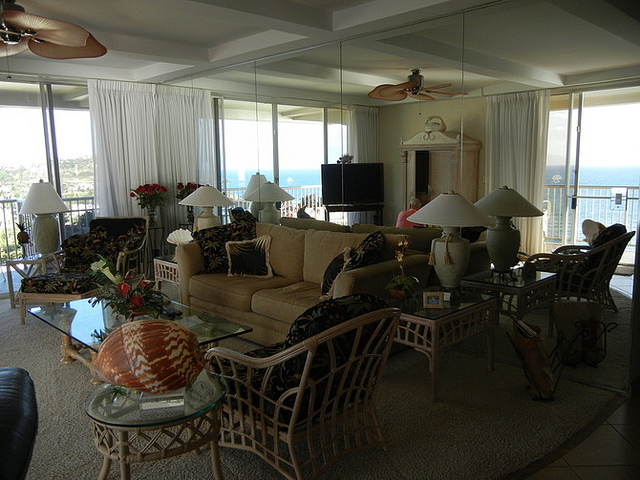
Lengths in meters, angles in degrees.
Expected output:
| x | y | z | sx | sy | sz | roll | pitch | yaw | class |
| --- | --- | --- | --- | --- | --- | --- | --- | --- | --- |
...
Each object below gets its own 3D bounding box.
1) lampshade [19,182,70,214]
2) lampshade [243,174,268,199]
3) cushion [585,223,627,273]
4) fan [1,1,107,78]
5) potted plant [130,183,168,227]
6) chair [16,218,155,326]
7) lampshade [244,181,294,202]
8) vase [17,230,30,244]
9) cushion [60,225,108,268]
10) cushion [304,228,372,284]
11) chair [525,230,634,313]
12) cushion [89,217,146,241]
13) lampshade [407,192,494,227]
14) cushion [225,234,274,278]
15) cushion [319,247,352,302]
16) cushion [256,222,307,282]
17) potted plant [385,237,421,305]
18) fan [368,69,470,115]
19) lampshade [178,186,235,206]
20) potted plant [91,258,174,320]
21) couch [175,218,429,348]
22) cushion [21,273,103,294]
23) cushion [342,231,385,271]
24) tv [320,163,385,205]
| x | y | z | sx | sy | sz | roll | pitch | yaw | class |
| --- | --- | --- | --- | --- | --- | --- | --- | --- | --- |
| -3.333 | -0.476 | 5.557 | 0.601 | 0.453 | 0.560 | -3 | 11 | -14 | lampshade |
| -0.895 | -0.742 | 6.227 | 0.298 | 0.282 | 0.298 | -4 | 8 | -22 | lampshade |
| 2.262 | 0.062 | 3.670 | 0.263 | 0.392 | 0.163 | 3 | 12 | 22 | cushion |
| -2.149 | -1.629 | 3.658 | 0.803 | 0.157 | 0.908 | -5 | 10 | -23 | fan |
| -2.438 | -0.528 | 6.805 | 0.631 | 0.642 | 0.622 | -2 | 10 | -20 | potted plant |
| -2.616 | 0.343 | 5.113 | 0.813 | 0.829 | 1.045 | 1 | 13 | 11 | chair |
| -0.676 | -0.626 | 6.115 | 0.369 | 0.200 | 0.340 | -6 | 11 | -33 | lampshade |
| -3.412 | -0.045 | 5.410 | 0.161 | 0.163 | 0.151 | -2 | -1 | 6 | vase |
| -2.670 | 0.083 | 5.270 | 0.571 | 0.490 | 0.163 | -16 | -8 | -23 | cushion |
| 0.126 | 0.202 | 4.517 | 0.318 | 0.571 | 0.874 | -18 | 15 | -34 | cushion |
| 2.124 | 0.237 | 3.701 | 0.517 | 0.533 | 0.643 | -8 | 13 | -41 | chair |
| -2.464 | -0.179 | 5.707 | 0.414 | 0.367 | 0.116 | -2 | -14 | -2 | cushion |
| 1.005 | -0.215 | 3.595 | 0.415 | 0.157 | 0.392 | -2 | 5 | -11 | lampshade |
| -0.726 | 0.186 | 4.781 | 0.495 | 0.424 | 0.080 | -2 | -13 | 1 | cushion |
| 0.129 | 0.287 | 3.975 | 0.145 | 0.399 | 0.374 | 24 | -34 | -14 | cushion |
| -0.402 | 0.149 | 4.756 | 0.570 | 0.341 | 0.190 | 10 | -8 | 39 | cushion |
| 0.718 | 0.241 | 3.960 | 0.290 | 0.486 | 0.755 | 1 | 10 | 12 | potted plant |
| 1.195 | -1.831 | 5.692 | 1.160 | 0.516 | 1.138 | 0 | 8 | 14 | fan |
| -1.408 | -0.524 | 5.658 | 0.370 | 0.154 | 0.366 | 5 | 8 | 32 | lampshade |
| -1.448 | 0.319 | 3.518 | 0.605 | 0.249 | 0.548 | 12 | -5 | 3 | potted plant |
| -0.270 | 0.385 | 4.601 | 2.497 | 1.079 | 1.066 | 6 | 12 | 45 | couch |
| -2.675 | 0.453 | 4.809 | 0.778 | 0.165 | 0.312 | 0 | 10 | 4 | cushion |
| 0.379 | 0.101 | 3.963 | 0.169 | 0.281 | 0.421 | 9 | 15 | 43 | cushion |
| 0.399 | -0.680 | 5.500 | 0.780 | 0.470 | 0.051 | 2 | 10 | 24 | tv |
